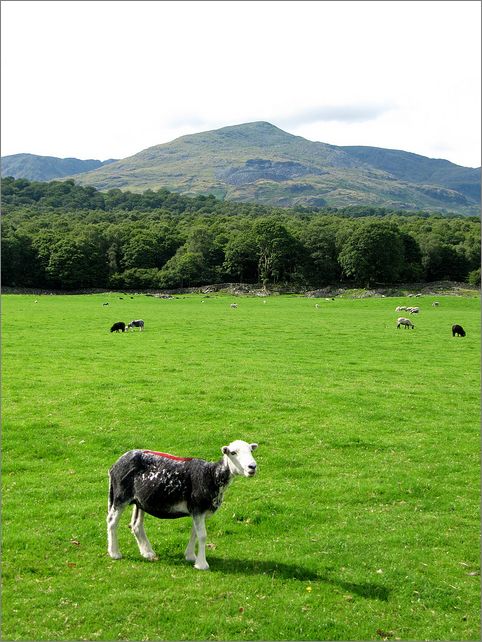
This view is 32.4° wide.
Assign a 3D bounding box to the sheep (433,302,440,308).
[{"bbox_3d":[20.850,-1.684,88.263,0.299,0.584,1.160,19,21,41],"label":"sheep"}]

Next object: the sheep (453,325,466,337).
[{"bbox_3d":[13.953,0.646,52.996,0.762,0.694,2.026,2,3,13],"label":"sheep"}]
